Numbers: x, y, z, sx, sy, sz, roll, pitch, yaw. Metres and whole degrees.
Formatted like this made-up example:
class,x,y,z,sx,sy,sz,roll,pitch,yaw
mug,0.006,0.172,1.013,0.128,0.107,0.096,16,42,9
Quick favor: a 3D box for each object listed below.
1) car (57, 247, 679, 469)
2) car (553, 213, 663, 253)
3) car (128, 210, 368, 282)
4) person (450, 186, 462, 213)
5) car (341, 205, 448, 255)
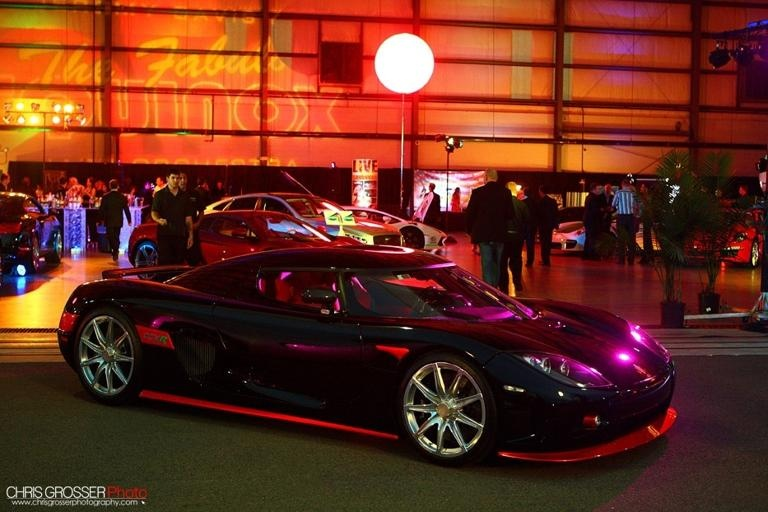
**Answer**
class,x,y,z,sx,sy,sz,roll,pitch,yaw
car,-0.163,0.768,5.876,3.975,1.254,2.385,4,6,24
car,7.219,-0.637,22.834,2.774,0.955,1.622,1,2,-20
car,-3.206,-0.441,13.198,3.586,1.148,2.097,1,7,19
person,3.587,-2.778,32.658,0.455,1.263,2.117,1,6,7
car,0.678,-0.696,22.975,2.869,0.905,1.757,4,11,-6
